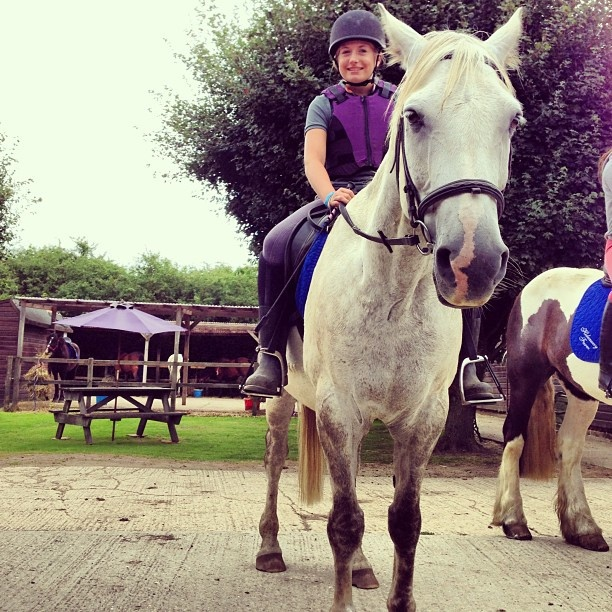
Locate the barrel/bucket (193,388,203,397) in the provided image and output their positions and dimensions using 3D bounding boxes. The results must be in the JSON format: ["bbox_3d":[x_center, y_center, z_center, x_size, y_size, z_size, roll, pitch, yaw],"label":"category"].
[{"bbox_3d":[-4.325,3.674,25.966,0.470,0.322,0.456,-2,-1,0],"label":"barrel/bucket"}]

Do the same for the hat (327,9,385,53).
[{"bbox_3d":[0.274,-1.442,3.309,0.282,0.177,0.285,2,-26,-5],"label":"hat"}]

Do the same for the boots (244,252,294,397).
[{"bbox_3d":[-0.198,0.106,3.612,0.212,0.858,0.434,0,-13,14],"label":"boots"}]

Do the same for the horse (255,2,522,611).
[{"bbox_3d":[0.320,0.137,3.017,0.845,2.825,1.912,2,-3,-9],"label":"horse"}]
